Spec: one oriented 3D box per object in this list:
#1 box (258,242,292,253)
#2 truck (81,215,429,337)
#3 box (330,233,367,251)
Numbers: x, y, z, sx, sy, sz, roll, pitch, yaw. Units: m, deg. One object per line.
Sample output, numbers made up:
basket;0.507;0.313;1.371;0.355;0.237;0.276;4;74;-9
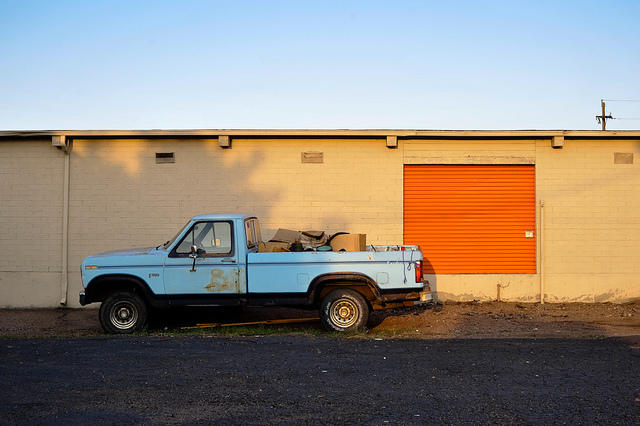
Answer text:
box;-1.185;0.866;20.586;0.492;0.149;0.350;-5;-7;31
truck;-1.496;1.604;21.172;7.868;2.221;3.274;0;-5;2
box;0.723;0.732;20.897;0.583;0.287;0.533;-1;-3;13
